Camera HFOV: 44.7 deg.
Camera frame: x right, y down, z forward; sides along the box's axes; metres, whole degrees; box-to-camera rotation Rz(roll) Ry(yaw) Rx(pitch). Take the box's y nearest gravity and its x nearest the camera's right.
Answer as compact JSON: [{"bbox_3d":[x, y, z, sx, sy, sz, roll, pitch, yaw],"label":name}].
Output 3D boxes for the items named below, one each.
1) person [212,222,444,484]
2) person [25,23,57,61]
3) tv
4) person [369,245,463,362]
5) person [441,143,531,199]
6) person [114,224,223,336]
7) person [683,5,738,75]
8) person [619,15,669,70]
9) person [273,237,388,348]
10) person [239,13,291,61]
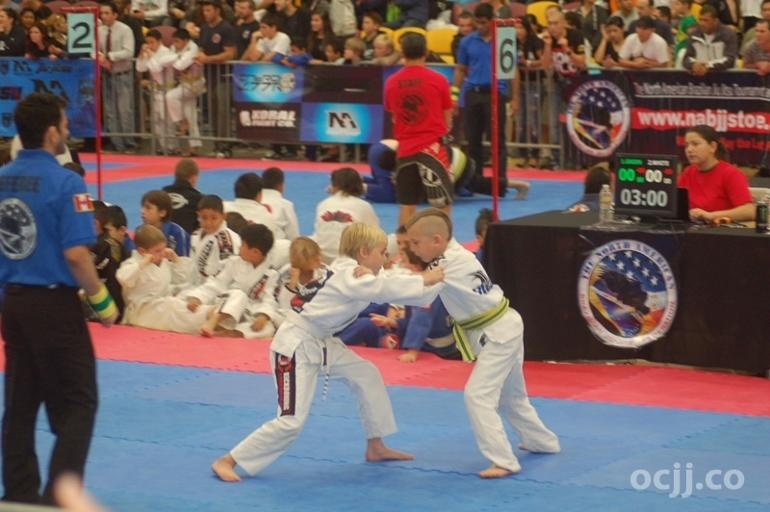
[{"bbox_3d":[-0.383,0.689,6.775,1.560,1.818,0.498,-1,10,-9],"label":"person"},{"bbox_3d":[-6.316,-3.979,17.254,0.557,0.696,1.575,-4,10,-21],"label":"person"},{"bbox_3d":[2.417,-0.650,8.595,0.609,0.557,0.067,4,9,30],"label":"tv"},{"bbox_3d":[0.176,0.524,9.093,1.059,1.378,1.154,-4,-6,5],"label":"person"},{"bbox_3d":[1.634,-1.299,14.493,1.197,0.836,1.731,2,10,7],"label":"person"},{"bbox_3d":[-2.548,0.203,10.051,1.286,1.238,0.911,4,11,3],"label":"person"},{"bbox_3d":[5.210,-3.478,14.941,0.817,1.127,0.843,3,10,16],"label":"person"},{"bbox_3d":[4.295,-3.541,15.407,0.835,0.880,0.728,3,10,15],"label":"person"},{"bbox_3d":[-0.427,0.324,7.612,0.620,0.814,0.658,-16,46,10],"label":"person"},{"bbox_3d":[-2.360,-4.139,17.997,1.285,1.085,0.799,-1,32,-9],"label":"person"}]
